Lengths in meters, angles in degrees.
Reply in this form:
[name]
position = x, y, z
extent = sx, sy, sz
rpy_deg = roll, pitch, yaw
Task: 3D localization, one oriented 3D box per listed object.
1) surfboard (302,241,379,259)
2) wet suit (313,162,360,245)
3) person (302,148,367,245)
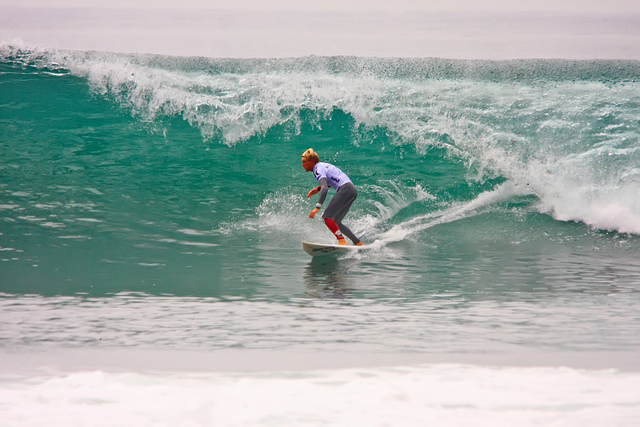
[surfboard]
position = 0.258, 0.721, 15.268
extent = 1.776, 0.191, 0.387
rpy_deg = 1, 15, -25
[wet suit]
position = 0.338, -0.195, 15.398
extent = 1.020, 1.538, 0.890
rpy_deg = 3, 19, -2
[person]
position = 0.267, -0.313, 15.322
extent = 1.125, 1.811, 0.806
rpy_deg = 0, 20, -12
